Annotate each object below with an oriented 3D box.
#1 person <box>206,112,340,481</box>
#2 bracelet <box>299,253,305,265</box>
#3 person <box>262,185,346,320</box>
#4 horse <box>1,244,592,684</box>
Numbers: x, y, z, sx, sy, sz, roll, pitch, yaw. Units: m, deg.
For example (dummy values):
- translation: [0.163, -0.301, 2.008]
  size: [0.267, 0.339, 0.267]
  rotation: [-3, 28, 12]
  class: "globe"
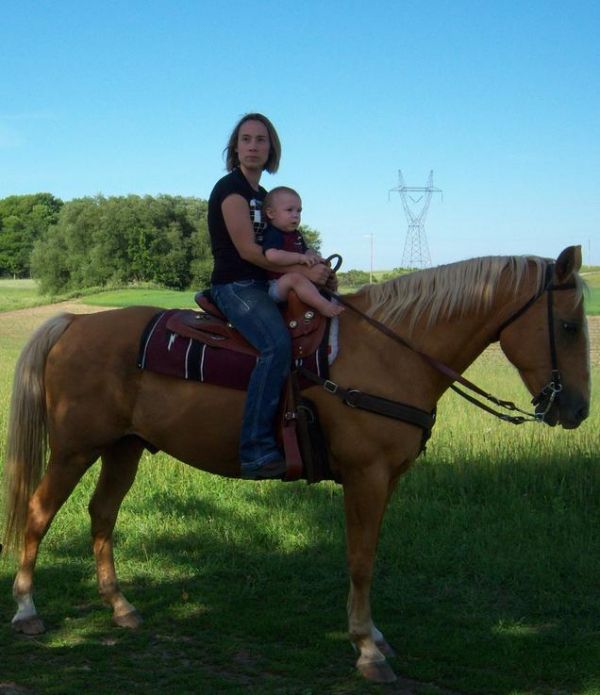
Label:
- translation: [-0.071, -0.353, 4.770]
  size: [0.949, 1.992, 0.748]
  rotation: [0, 1, 15]
  class: "person"
- translation: [0.011, -0.471, 4.408]
  size: [0.019, 0.044, 0.037]
  rotation: [2, -11, -6]
  class: "bracelet"
- translation: [0.006, -0.517, 4.473]
  size: [0.402, 0.696, 0.560]
  rotation: [0, 9, -3]
  class: "person"
- translation: [-0.170, 0.586, 4.643]
  size: [3.334, 2.312, 0.706]
  rotation: [2, 9, 15]
  class: "horse"
